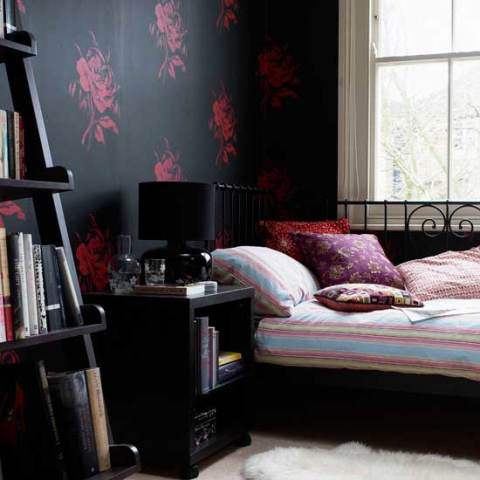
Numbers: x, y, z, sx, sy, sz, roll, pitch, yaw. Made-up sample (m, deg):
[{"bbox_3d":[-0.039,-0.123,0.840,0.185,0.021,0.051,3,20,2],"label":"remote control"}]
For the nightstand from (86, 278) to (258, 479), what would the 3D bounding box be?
[{"bbox_3d":[-0.222,0.442,2.087,0.556,0.862,0.587,1,5,21],"label":"nightstand"}]

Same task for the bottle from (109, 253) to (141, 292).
[{"bbox_3d":[-0.424,0.106,1.763,0.110,0.152,0.119,1,0,0],"label":"bottle"}]

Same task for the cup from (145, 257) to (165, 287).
[{"bbox_3d":[-0.315,0.109,1.790,0.072,0.096,0.080,1,-2,-1],"label":"cup"}]

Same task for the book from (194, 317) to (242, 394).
[{"bbox_3d":[-0.077,0.400,1.796,0.064,0.248,0.168,-5,-1,1],"label":"book"}]
